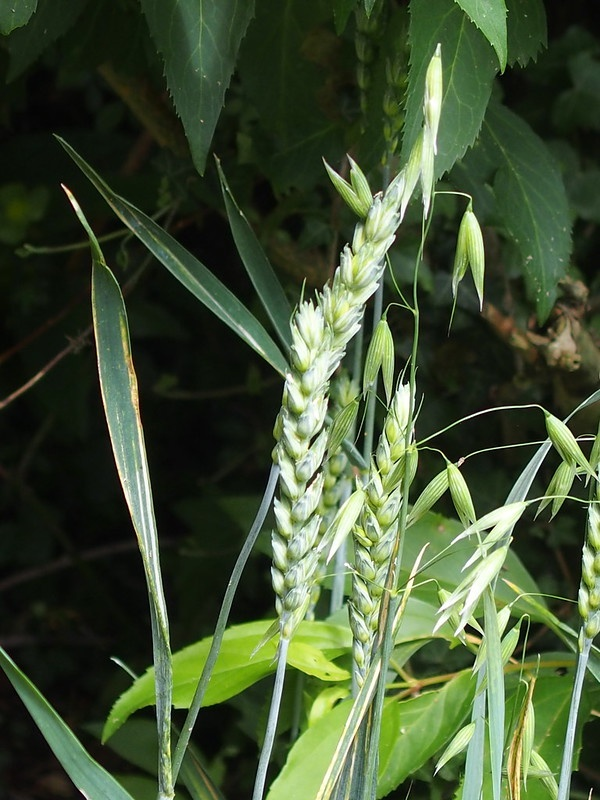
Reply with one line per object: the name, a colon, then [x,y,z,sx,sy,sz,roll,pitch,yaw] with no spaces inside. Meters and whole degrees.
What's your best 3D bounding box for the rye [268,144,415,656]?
rye: [0.011,0.001,0.388,0.036,0.276,0.045,7,2,0]
